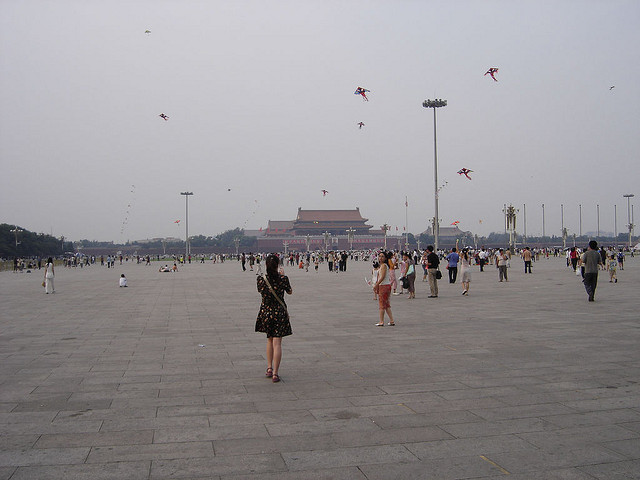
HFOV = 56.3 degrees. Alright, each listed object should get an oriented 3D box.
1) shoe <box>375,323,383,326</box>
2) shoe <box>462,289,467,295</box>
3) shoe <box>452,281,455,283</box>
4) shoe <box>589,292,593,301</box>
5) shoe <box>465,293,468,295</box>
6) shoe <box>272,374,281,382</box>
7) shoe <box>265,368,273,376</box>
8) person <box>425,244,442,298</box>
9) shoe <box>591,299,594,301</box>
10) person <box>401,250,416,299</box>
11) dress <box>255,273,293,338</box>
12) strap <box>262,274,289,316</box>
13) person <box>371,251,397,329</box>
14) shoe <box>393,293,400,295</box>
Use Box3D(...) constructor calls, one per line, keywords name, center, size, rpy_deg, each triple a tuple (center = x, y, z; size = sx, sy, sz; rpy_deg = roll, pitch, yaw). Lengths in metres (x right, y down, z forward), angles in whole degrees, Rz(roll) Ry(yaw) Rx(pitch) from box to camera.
Box3D(name="shoe", center=(1.159, 1.626, 11.686), size=(0.140, 0.046, 0.057), rpy_deg=(6, -6, -12))
Box3D(name="shoe", center=(4.363, 1.532, 18.095), size=(0.132, 0.115, 0.303), rpy_deg=(-1, 0, 13))
Box3D(name="shoe", center=(5.099, 1.564, 23.026), size=(0.100, 0.110, 0.059), rpy_deg=(2, 11, 11))
Box3D(name="shoe", center=(6.917, 1.418, 15.299), size=(0.080, 0.182, 0.082), rpy_deg=(-1, -1, 18))
Box3D(name="shoe", center=(4.429, 1.604, 18.146), size=(0.061, 0.070, 0.065), rpy_deg=(0, 6, -4))
Box3D(name="shoe", center=(-0.529, 1.646, 7.263), size=(0.098, 0.073, 0.159), rpy_deg=(-1, 0, -4))
Box3D(name="shoe", center=(-0.637, 1.628, 7.477), size=(0.080, 0.090, 0.236), rpy_deg=(0, -5, -12))
Box3D(name="person", center=(3.246, 0.876, 17.674), size=(0.496, 1.509, 0.498), rpy_deg=(2, -4, -43))
Box3D(name="shoe", center=(6.984, 1.510, 15.350), size=(0.034, 0.046, 0.059), rpy_deg=(-11, 28, -31))
Box3D(name="person", center=(2.605, 1.005, 17.843), size=(0.397, 1.392, 0.423), rpy_deg=(-3, 1, 39))
Box3D(name="dress", center=(-0.592, 0.841, 7.632), size=(0.436, 1.168, 0.334), rpy_deg=(1, 12, -1))
Box3D(name="strap", center=(-0.577, 0.674, 7.530), size=(0.031, 0.607, 0.082), rpy_deg=(-38, 18, -32))
Box3D(name="person", center=(1.215, 0.914, 11.667), size=(0.389, 1.379, 0.338), rpy_deg=(-3, -5, 40))
Box3D(name="shoe", center=(2.413, 1.677, 19.042), size=(0.197, 0.021, 0.392), rpy_deg=(-2, 0, 2))
